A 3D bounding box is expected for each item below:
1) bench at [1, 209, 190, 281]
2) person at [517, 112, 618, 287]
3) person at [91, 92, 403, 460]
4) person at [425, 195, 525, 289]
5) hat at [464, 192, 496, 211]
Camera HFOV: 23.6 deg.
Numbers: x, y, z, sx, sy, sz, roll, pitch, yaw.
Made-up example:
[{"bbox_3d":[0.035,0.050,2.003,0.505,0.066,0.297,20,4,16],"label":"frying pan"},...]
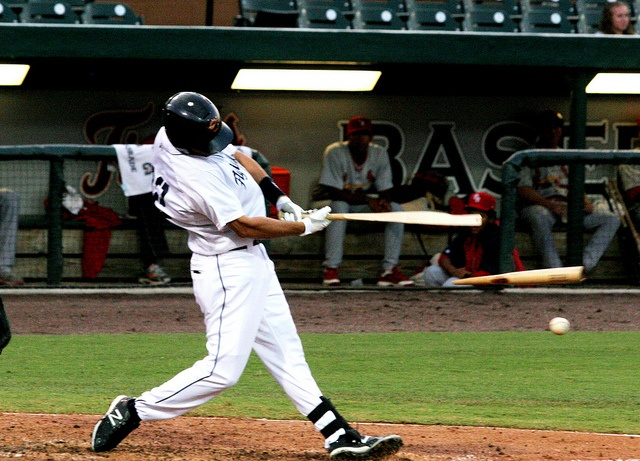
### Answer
[{"bbox_3d":[-1.859,0.079,12.894,0.606,0.459,1.742,18,13,30],"label":"bench"},{"bbox_3d":[2.097,-0.336,13.026,0.827,1.389,0.899,0,1,9],"label":"person"},{"bbox_3d":[-0.596,0.287,10.194,1.822,2.393,0.446,0,1,1],"label":"person"},{"bbox_3d":[1.207,0.119,12.582,0.764,0.726,0.672,-13,13,-41],"label":"person"},{"bbox_3d":[1.298,-0.231,12.548,0.234,0.089,0.157,7,-3,-33],"label":"hat"}]
